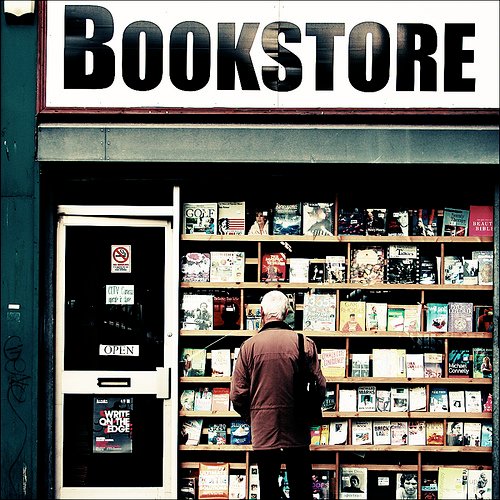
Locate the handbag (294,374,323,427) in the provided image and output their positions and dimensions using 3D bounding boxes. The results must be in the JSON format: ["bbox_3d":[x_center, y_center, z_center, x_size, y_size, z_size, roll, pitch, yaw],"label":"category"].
[{"bbox_3d":[0.505,1.224,11.461,0.270,0.559,0.294,1,33,1],"label":"handbag"}]
